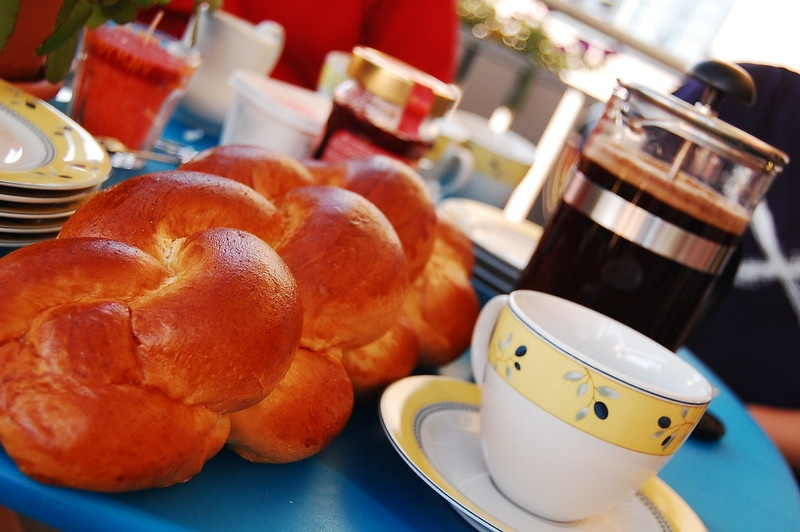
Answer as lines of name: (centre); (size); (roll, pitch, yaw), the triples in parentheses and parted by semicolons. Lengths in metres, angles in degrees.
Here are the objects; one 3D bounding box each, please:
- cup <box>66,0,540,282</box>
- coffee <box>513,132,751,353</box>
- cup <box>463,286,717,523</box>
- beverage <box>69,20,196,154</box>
cup: (-0.049, -0.073, 0.755); (0.394, 0.304, 0.301); (24, 21, 4)
coffee: (0.243, -0.035, 0.650); (0.158, 0.199, 0.203); (23, 22, 6)
cup: (0.118, 0.115, 0.514); (0.194, 0.135, 0.159); (27, 11, 24)
beverage: (-0.299, -0.189, 0.712); (0.121, 0.113, 0.129); (26, 13, 12)
